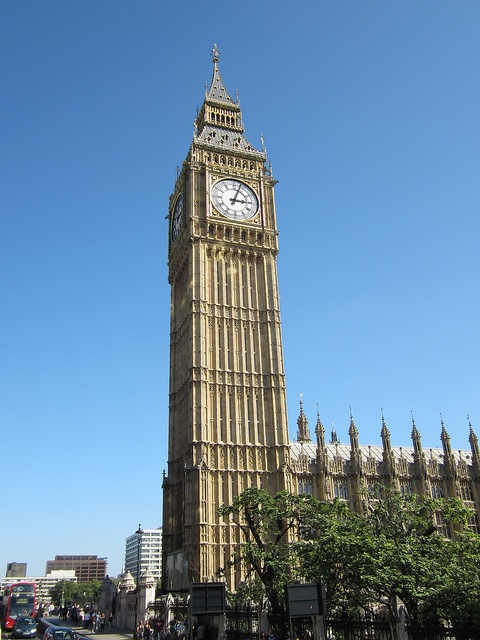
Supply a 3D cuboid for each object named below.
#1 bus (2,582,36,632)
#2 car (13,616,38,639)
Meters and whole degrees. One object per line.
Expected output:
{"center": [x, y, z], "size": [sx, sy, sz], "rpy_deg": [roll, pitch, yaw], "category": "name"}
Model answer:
{"center": [-16.945, 21.895, 43.728], "size": [1.719, 2.846, 5.244], "rpy_deg": [8, -39, -20], "category": "bus"}
{"center": [-14.344, 20.631, 38.046], "size": [0.991, 0.909, 2.246], "rpy_deg": [10, -28, -15], "category": "car"}
